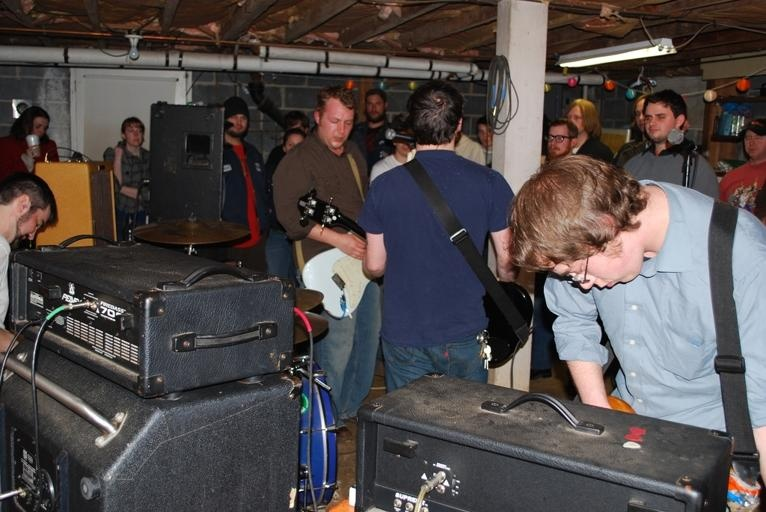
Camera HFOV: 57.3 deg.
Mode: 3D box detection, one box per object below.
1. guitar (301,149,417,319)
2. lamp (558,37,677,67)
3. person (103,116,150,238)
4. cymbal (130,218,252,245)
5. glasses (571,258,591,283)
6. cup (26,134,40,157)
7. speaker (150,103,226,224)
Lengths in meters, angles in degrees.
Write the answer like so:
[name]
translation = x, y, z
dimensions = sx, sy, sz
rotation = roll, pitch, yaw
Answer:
[guitar]
translation = -0.080, -0.284, 3.564
dimensions = 0.137, 0.431, 1.100
rotation = 33, -18, 30
[lamp]
translation = 2.034, -1.773, 6.072
dimensions = 0.320, 0.165, 1.550
rotation = 0, 14, -12
[person]
translation = -2.386, -0.745, 6.667
dimensions = 0.312, 1.120, 0.406
rotation = -2, 14, -20
[cymbal]
translation = -1.148, -0.143, 4.226
dimensions = 0.330, 0.052, 0.331
rotation = -7, 17, -40
[glasses]
translation = 0.605, 0.044, 2.132
dimensions = 0.019, 0.068, 0.066
rotation = 9, -5, -16
[cup]
translation = -3.007, -0.962, 6.052
dimensions = 0.090, 0.191, 0.164
rotation = -4, 15, -28
[speaker]
translation = -1.428, -0.665, 5.067
dimensions = 0.844, 0.874, 0.239
rotation = 14, 17, 37
